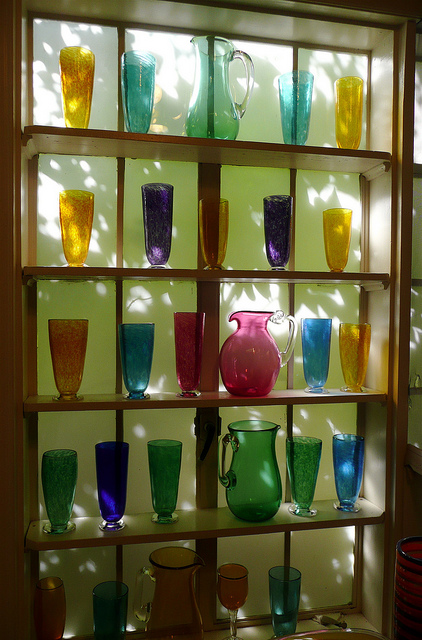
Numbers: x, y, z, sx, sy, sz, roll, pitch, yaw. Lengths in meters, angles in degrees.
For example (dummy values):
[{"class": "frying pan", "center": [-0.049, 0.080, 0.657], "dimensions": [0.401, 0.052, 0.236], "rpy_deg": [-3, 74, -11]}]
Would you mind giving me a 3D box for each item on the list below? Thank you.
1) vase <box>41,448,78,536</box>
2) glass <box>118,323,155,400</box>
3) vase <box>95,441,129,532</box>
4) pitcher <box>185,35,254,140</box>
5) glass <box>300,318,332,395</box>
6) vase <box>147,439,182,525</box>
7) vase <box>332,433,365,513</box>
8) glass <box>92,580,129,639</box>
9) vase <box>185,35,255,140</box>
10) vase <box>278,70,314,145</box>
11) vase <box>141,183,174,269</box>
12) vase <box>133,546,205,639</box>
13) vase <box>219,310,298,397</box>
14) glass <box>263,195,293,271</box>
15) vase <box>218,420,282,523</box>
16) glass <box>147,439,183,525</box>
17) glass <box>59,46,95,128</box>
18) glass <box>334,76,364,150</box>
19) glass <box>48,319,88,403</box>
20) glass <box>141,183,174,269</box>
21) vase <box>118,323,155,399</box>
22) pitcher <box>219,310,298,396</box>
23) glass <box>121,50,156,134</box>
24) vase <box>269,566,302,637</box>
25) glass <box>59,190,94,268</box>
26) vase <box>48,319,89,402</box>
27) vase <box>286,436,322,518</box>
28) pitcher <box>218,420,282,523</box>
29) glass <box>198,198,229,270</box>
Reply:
[{"class": "vase", "center": [-0.338, 0.372, 1.235], "dimensions": [0.082, 0.203, 0.086], "rpy_deg": [8, 7, 37]}, {"class": "glass", "center": [-0.174, 0.085, 1.282], "dimensions": [0.083, 0.198, 0.089], "rpy_deg": [1, 14, -14]}, {"class": "vase", "center": [-0.235, 0.401, 1.272], "dimensions": [0.070, 0.185, 0.194], "rpy_deg": [-1, -36, -11]}, {"class": "pitcher", "center": [0.023, -0.544, 1.304], "dimensions": [0.142, 0.269, 0.121], "rpy_deg": [0, 1, 9]}, {"class": "glass", "center": [0.277, 0.090, 1.403], "dimensions": [0.075, 0.212, 0.080], "rpy_deg": [6, 14, 34]}, {"class": "vase", "center": [-0.113, 0.381, 1.315], "dimensions": [0.075, 0.205, 0.211], "rpy_deg": [-3, -35, -8]}, {"class": "vase", "center": [0.357, 0.396, 1.400], "dimensions": [0.103, 0.200, 0.118], "rpy_deg": [2, 9, 17]}, {"class": "glass", "center": [-0.210, 0.600, 1.121], "dimensions": [0.072, 0.121, 0.104], "rpy_deg": [1, -35, -14]}, {"class": "vase", "center": [0.022, -0.544, 1.306], "dimensions": [0.142, 0.264, 0.120], "rpy_deg": [0, 3, 4]}, {"class": "vase", "center": [0.212, -0.534, 1.344], "dimensions": [0.084, 0.096, 0.167], "rpy_deg": [3, -58, 9]}, {"class": "vase", "center": [-0.122, -0.215, 1.263], "dimensions": [0.071, 0.236, 0.151], "rpy_deg": [-3, -33, -6]}, {"class": "vase", "center": [-0.080, 0.515, 1.015], "dimensions": [0.130, 0.193, 0.228], "rpy_deg": [-2, -36, -10]}, {"class": "vase", "center": [0.131, 0.083, 1.330], "dimensions": [0.174, 0.220, 0.132], "rpy_deg": [-5, -9, 32]}, {"class": "glass", "center": [0.166, -0.202, 1.333], "dimensions": [0.066, 0.202, 0.068], "rpy_deg": [-8, -18, 32]}, {"class": "vase", "center": [0.092, 0.375, 1.320], "dimensions": [0.133, 0.232, 0.126], "rpy_deg": [0, -4, -10]}, {"class": "glass", "center": [-0.114, 0.386, 1.300], "dimensions": [0.078, 0.206, 0.087], "rpy_deg": [0, 9, -8]}, {"class": "glass", "center": [-0.314, -0.530, 1.248], "dimensions": [0.072, 0.203, 0.195], "rpy_deg": [2, -36, -15]}, {"class": "glass", "center": [0.363, -0.517, 1.387], "dimensions": [0.066, 0.180, 0.069], "rpy_deg": [-1, -3, 18]}, {"class": "glass", "center": [-0.333, 0.080, 1.252], "dimensions": [0.097, 0.214, 0.102], "rpy_deg": [-4, 20, -25]}, {"class": "glass", "center": [-0.126, -0.237, 1.287], "dimensions": [0.077, 0.082, 0.239], "rpy_deg": [-7, -53, -12]}, {"class": "vase", "center": [-0.179, 0.096, 1.278], "dimensions": [0.087, 0.183, 0.099], "rpy_deg": [2, 4, 25]}, {"class": "pitcher", "center": [0.129, 0.080, 1.342], "dimensions": [0.171, 0.237, 0.139], "rpy_deg": [-1, -10, 7]}, {"class": "glass", "center": [-0.170, -0.556, 1.239], "dimensions": [0.090, 0.105, 0.172], "rpy_deg": [-3, -37, -4]}, {"class": "vase", "center": [0.172, 0.635, 1.228], "dimensions": [0.079, 0.148, 0.122], "rpy_deg": [-10, -34, 3]}, {"class": "glass", "center": [-0.312, -0.206, 1.232], "dimensions": [0.074, 0.127, 0.124], "rpy_deg": [3, -36, -17]}, {"class": "vase", "center": [-0.330, 0.081, 1.252], "dimensions": [0.100, 0.211, 0.110], "rpy_deg": [6, 18, -2]}, {"class": "vase", "center": [0.232, 0.390, 1.365], "dimensions": [0.079, 0.199, 0.090], "rpy_deg": [4, 5, 13]}, {"class": "pitcher", "center": [0.094, 0.380, 1.400], "dimensions": [0.185, 0.295, 0.169], "rpy_deg": [0, -5, -22]}, {"class": "glass", "center": [0.010, -0.181, 1.301], "dimensions": [0.055, 0.153, 0.065], "rpy_deg": [-2, -22, 9]}]
